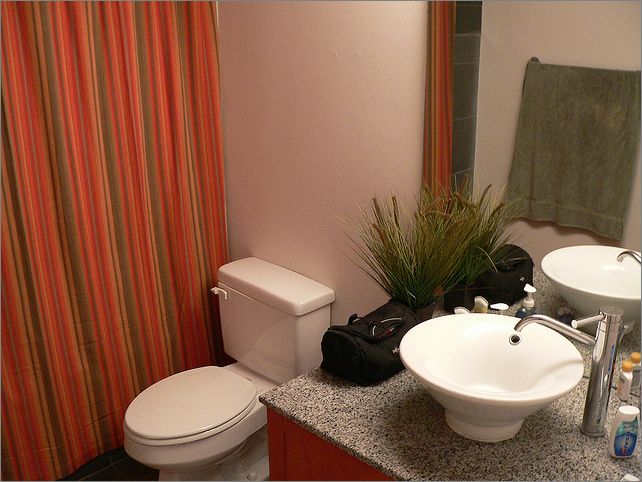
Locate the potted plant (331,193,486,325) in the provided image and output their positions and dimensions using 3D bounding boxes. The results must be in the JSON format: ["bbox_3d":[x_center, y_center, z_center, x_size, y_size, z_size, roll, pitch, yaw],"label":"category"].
[{"bbox_3d":[0.332,-0.010,1.927,0.423,0.513,0.421,11,23,29],"label":"potted plant"}]

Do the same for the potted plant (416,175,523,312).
[{"bbox_3d":[0.577,-0.021,1.936,0.313,0.468,0.403,15,23,41],"label":"potted plant"}]

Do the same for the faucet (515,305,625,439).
[{"bbox_3d":[0.661,0.344,1.352,0.289,0.350,0.104,-1,22,5],"label":"faucet"}]

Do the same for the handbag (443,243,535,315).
[{"bbox_3d":[0.566,0.134,1.837,0.206,0.281,0.264,-22,33,-32],"label":"handbag"}]

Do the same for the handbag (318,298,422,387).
[{"bbox_3d":[0.135,0.287,1.627,0.276,0.175,0.208,-20,23,-41],"label":"handbag"}]
